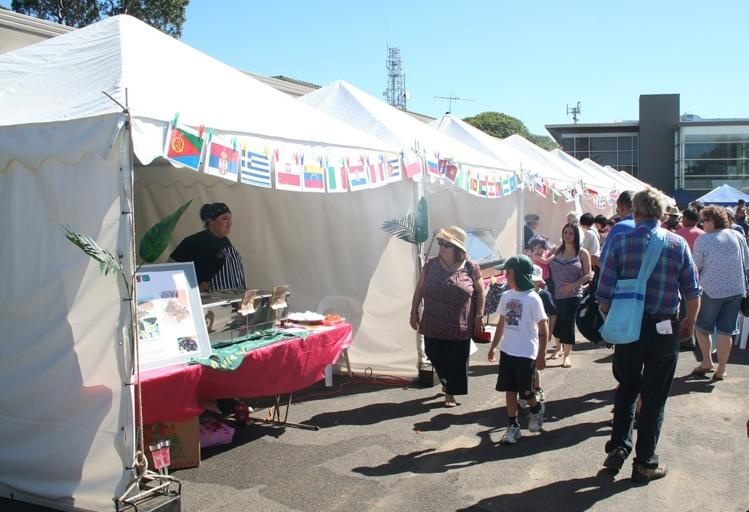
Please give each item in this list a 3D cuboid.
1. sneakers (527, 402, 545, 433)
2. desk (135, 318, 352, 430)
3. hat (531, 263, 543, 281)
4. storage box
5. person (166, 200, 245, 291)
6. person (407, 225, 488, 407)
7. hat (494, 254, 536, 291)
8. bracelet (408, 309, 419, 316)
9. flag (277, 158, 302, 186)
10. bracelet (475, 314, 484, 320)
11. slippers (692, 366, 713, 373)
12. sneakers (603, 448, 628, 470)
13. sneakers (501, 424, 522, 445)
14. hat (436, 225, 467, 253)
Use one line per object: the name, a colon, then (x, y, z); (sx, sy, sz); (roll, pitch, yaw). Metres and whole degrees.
sneakers: (1.664, 1.702, 6.974); (0.172, 0.395, 0.124); (17, -12, -42)
desk: (-1.183, 1.153, 6.456); (0.264, 0.600, 2.255); (11, 16, 43)
hat: (2.048, 0.228, 8.491); (0.171, 0.126, 0.233); (6, -14, 9)
storage box: (-1.885, 1.731, 6.356); (0.559, 0.567, 0.203); (-1, 10, 3)
person: (-1.792, -0.094, 7.295); (0.465, 1.214, 0.911); (3, 8, 25)
person: (0.855, 0.626, 7.397); (0.658, 1.828, 0.374); (2, 12, 9)
hat: (1.436, 0.157, 6.759); (0.214, 0.245, 0.385); (-3, 32, -25)
bracelet: (0.464, 0.661, 7.681); (0.060, 0.078, 0.077); (1, -8, -5)
flag: (-0.864, -0.838, 6.722); (0.029, 0.274, 0.261); (0, 3, 42)
bracelet: (1.144, 0.697, 7.375); (0.065, 0.073, 0.064); (-4, 3, -18)
slippers: (4.214, 1.486, 8.631); (0.238, 0.095, 0.092); (1, 2, 21)
sneakers: (2.179, 1.867, 6.073); (0.119, 0.280, 0.126); (12, 44, 12)
sneakers: (1.359, 1.813, 6.724); (0.105, 0.114, 0.256); (-3, -6, 28)
hat: (0.864, -0.171, 7.415); (0.348, 0.276, 0.266); (-3, 12, -13)
